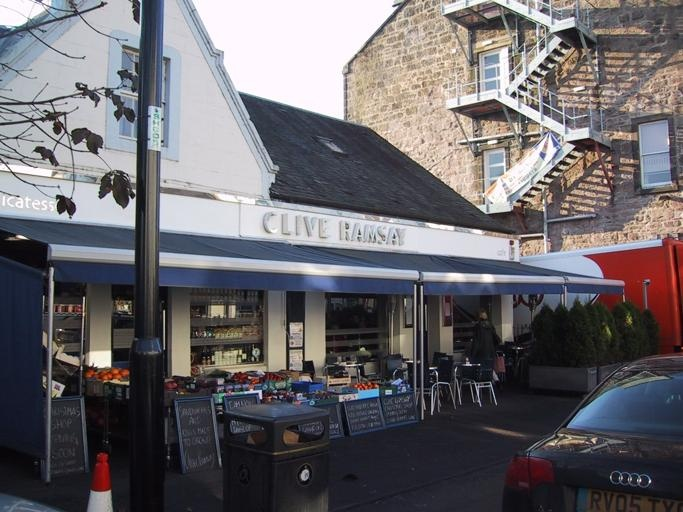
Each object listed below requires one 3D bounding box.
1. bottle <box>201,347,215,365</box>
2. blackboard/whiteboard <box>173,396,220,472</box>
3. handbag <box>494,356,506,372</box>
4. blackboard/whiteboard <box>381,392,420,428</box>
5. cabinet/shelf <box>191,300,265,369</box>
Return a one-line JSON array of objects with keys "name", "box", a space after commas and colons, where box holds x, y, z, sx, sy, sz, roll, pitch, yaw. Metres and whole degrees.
[{"name": "bottle", "box": [-2.756, 2.072, 14.582, 0.062, 0.357, 0.322, -10, -12, 38]}, {"name": "blackboard/whiteboard", "box": [-2.066, 2.597, 10.255, 0.696, 1.044, 0.245, 4, -12, -36]}, {"name": "handbag", "box": [3.866, 2.630, 17.031, 0.333, 0.473, 0.337, 4, -6, -17]}, {"name": "blackboard/whiteboard", "box": [1.077, 2.827, 12.949, 0.130, 0.590, 0.904, -12, -13, 43]}, {"name": "cabinet/shelf", "box": [-2.462, 1.675, 14.833, 1.313, 1.208, 0.428, 6, -10, -43]}]
